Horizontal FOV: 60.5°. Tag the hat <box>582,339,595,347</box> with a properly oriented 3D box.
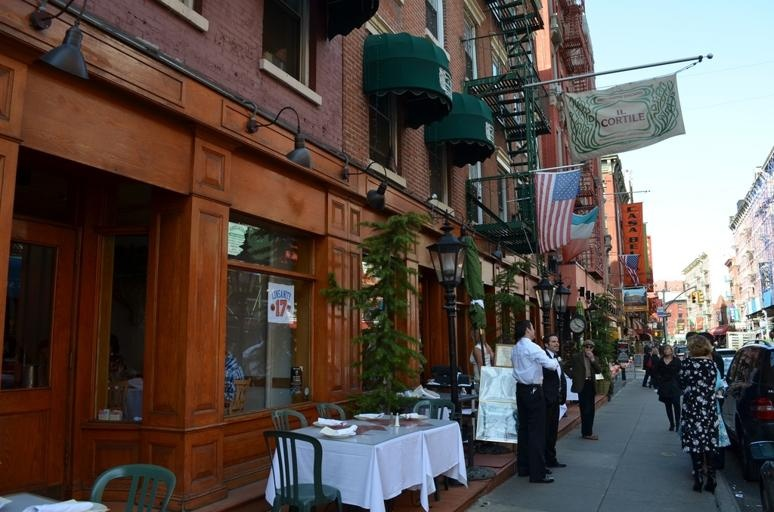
[{"bbox_3d":[4.636,2.020,15.265,0.327,0.143,0.412,0,-9,9],"label":"hat"}]

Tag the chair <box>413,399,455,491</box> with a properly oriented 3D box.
[{"bbox_3d":[0.731,3.241,11.262,0.769,1.268,0.907,1,29,0],"label":"chair"}]

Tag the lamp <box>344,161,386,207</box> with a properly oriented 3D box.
[{"bbox_3d":[-0.366,-1.408,13.274,0.664,0.895,1.346,-7,-11,16],"label":"lamp"}]

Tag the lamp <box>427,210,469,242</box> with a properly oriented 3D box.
[{"bbox_3d":[1.444,-0.693,15.725,0.853,0.994,0.907,-4,4,1],"label":"lamp"}]

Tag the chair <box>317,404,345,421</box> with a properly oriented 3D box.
[{"bbox_3d":[-0.981,2.662,11.255,0.298,0.434,0.308,13,-27,-34],"label":"chair"}]

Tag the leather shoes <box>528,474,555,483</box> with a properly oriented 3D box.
[{"bbox_3d":[2.714,3.948,11.735,0.462,0.219,0.170,-1,-5,-3],"label":"leather shoes"}]

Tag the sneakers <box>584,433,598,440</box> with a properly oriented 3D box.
[{"bbox_3d":[4.704,4.165,15.280,0.395,0.171,0.131,-14,-12,41],"label":"sneakers"}]

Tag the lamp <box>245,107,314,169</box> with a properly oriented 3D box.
[{"bbox_3d":[-1.796,-1.925,10.896,1.137,1.082,0.449,7,-4,-36],"label":"lamp"}]

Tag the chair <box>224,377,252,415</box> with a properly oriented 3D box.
[{"bbox_3d":[-2.557,2.355,11.009,0.422,0.614,0.420,14,6,-17],"label":"chair"}]

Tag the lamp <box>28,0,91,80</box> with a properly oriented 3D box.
[{"bbox_3d":[-4.136,-2.814,8.388,0.635,1.375,0.668,5,-14,-41],"label":"lamp"}]
